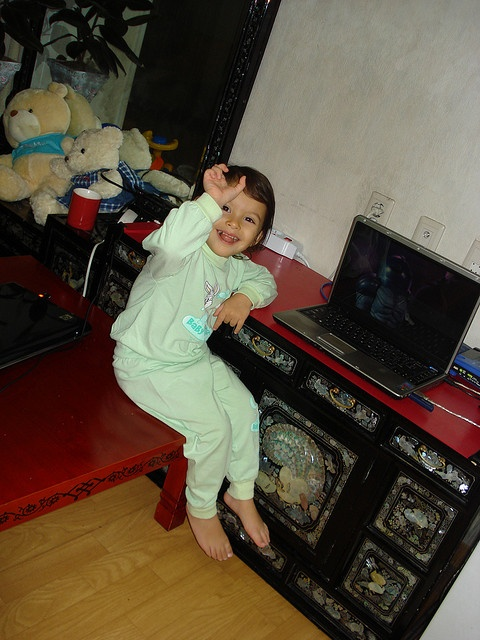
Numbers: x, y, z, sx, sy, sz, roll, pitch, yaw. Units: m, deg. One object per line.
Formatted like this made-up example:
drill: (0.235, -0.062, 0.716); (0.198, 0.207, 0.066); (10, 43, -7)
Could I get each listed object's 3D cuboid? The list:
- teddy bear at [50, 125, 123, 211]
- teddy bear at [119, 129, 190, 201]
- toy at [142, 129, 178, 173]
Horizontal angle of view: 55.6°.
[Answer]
teddy bear: (-0.535, -0.538, 1.626); (0.266, 0.302, 0.259); (18, 21, 34)
teddy bear: (-0.442, -0.649, 1.929); (0.365, 0.186, 0.493); (3, 18, -33)
toy: (-0.305, -0.666, 1.798); (0.141, 0.143, 0.136); (10, 32, -2)
